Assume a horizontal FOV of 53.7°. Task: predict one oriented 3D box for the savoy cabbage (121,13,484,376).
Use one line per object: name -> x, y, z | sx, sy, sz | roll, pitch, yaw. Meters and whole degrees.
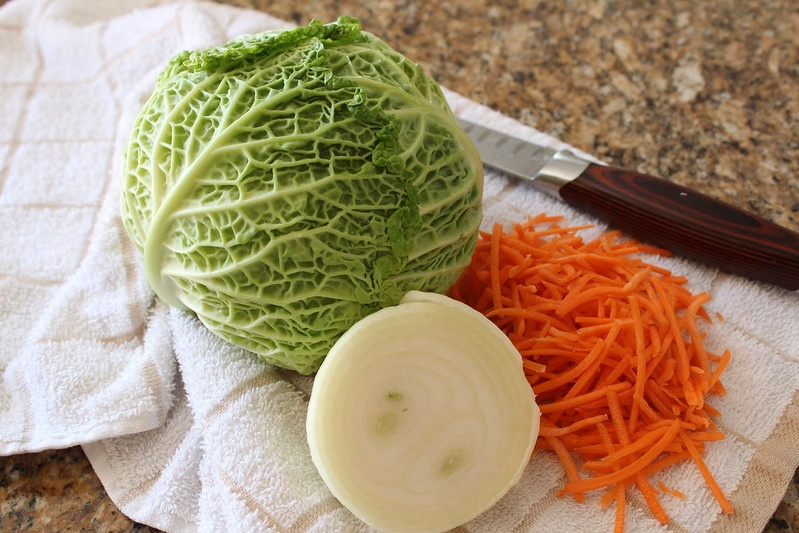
savoy cabbage -> -0.199, -0.213, 2.108 | 0.777, 0.762, 0.851 | 11, 85, 8
